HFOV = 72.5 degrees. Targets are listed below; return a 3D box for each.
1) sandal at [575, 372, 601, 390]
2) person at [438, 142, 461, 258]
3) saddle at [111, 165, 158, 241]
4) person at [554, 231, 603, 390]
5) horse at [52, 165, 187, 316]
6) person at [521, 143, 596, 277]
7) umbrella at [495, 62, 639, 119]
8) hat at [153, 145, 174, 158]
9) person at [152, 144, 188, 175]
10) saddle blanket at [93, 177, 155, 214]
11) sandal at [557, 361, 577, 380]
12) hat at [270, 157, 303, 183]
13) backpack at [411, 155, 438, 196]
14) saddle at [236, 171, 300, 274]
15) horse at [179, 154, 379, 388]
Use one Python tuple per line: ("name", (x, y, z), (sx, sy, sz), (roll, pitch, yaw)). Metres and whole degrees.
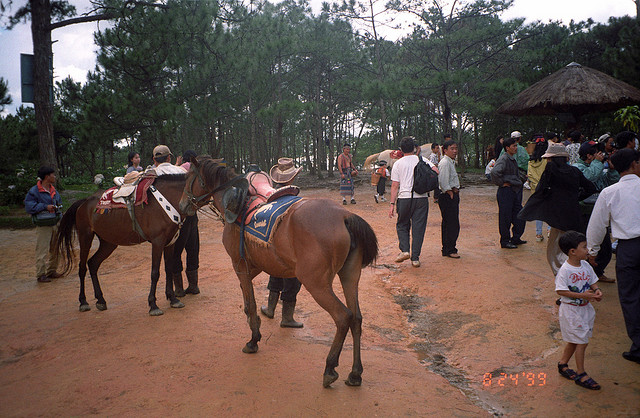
("sandal", (3.909, 2.536, 6.401), (0.158, 0.142, 0.328), (-25, 24, -40))
("person", (3.183, -0.235, 10.749), (0.559, 2.759, 1.247), (1, 5, 16))
("saddle", (-3.608, -0.087, 8.804), (1.025, 1.380, 0.491), (5, -6, 35))
("person", (3.901, 1.486, 6.591), (0.634, 2.243, 0.590), (1, 5, 20))
("horse", (-3.565, 0.605, 8.779), (3.690, 2.726, 1.072), (-4, -2, 4))
("person", (4.917, 0.067, 9.088), (1.416, 2.770, 0.802), (0, 1, 28))
("umbrella", (8.152, -3.768, 14.642), (2.927, 1.234, 2.872), (-13, 14, -36))
("hat", (-3.401, -1.214, 9.302), (0.311, 0.259, 0.252), (-2, 5, -16))
("person", (-3.222, -0.979, 9.010), (0.648, 0.467, 0.844), (1, 9, 3))
("saddle blanket", (-3.836, -0.312, 8.374), (1.242, 0.348, 0.955), (-7, -17, -11))
("sandal", (3.732, 2.444, 6.626), (0.124, 0.138, 0.331), (-17, 7, -11))
("hat", (-0.640, -0.783, 8.004), (0.640, 0.287, 0.763), (6, 32, 13))
("backpack", (2.368, -0.791, 9.859), (0.592, 0.839, 0.471), (-18, 24, -28))
("saddle", (-1.017, -0.217, 7.726), (0.655, 1.307, 2.191), (0, 15, -14))
("horse", (-0.458, 0.694, 8.646), (3.548, 3.428, 4.478), (1, 5, 14))
